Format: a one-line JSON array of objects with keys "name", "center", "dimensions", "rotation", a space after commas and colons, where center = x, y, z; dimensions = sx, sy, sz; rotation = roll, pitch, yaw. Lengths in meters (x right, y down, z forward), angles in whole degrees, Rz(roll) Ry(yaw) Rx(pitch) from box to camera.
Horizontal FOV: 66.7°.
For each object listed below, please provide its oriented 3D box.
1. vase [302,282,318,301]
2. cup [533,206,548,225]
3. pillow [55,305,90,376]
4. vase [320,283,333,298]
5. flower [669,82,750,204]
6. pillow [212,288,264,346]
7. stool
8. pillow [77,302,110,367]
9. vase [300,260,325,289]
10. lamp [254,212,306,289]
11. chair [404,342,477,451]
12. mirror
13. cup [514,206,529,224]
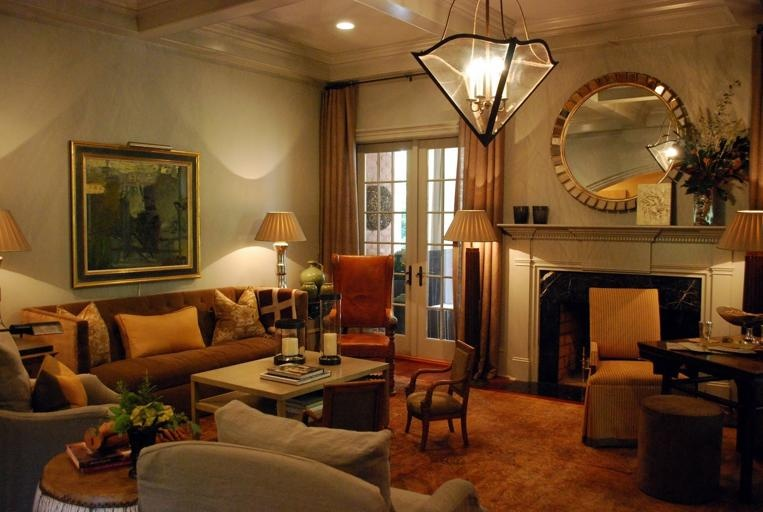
[{"name": "vase", "center": [-0.844, 0.413, 6.945], "dimensions": [0.190, 0.226, 0.193], "rotation": [3, 6, 29]}, {"name": "cup", "center": [1.753, -0.465, 6.537], "dimensions": [0.193, 0.221, 0.200], "rotation": [1, -4, 0]}, {"name": "pillow", "center": [-2.584, 0.726, 4.848], "dimensions": [0.150, 0.481, 0.491], "rotation": [-7, 9, -41]}, {"name": "vase", "center": [-0.632, 0.400, 6.800], "dimensions": [0.158, 0.179, 0.159], "rotation": [-4, -9, 39]}, {"name": "flower", "center": [3.207, -1.125, 5.653], "dimensions": [0.652, 1.169, 0.244], "rotation": [4, 10, 26]}, {"name": "pillow", "center": [-1.570, 0.679, 6.302], "dimensions": [0.502, 0.475, 0.224], "rotation": [-5, -12, -32]}, {"name": "stool", "center": [2.185, 1.454, 4.546], "dimensions": [0.655, 0.752, 0.667], "rotation": [0, -1, -6]}, {"name": "pillow", "center": [-2.598, 0.723, 5.221], "dimensions": [0.216, 0.437, 0.520], "rotation": [-12, 1, -6]}, {"name": "vase", "center": [-0.874, 0.221, 7.150], "dimensions": [0.327, 0.396, 0.313], "rotation": [1, 2, -44]}, {"name": "lamp", "center": [-1.251, -0.068, 6.995], "dimensions": [0.538, 0.933, 0.598], "rotation": [-3, 9, -22]}, {"name": "chair", "center": [0.540, 1.144, 5.519], "dimensions": [0.603, 0.958, 1.442], "rotation": [1, 9, 7]}, {"name": "mirror", "center": [2.555, -1.205, 6.079], "dimensions": [1.477, 1.640, 0.058], "rotation": [2, 3, 30]}, {"name": "cup", "center": [1.573, -0.475, 6.546], "dimensions": [0.184, 0.196, 0.153], "rotation": [2, 9, 13]}]
